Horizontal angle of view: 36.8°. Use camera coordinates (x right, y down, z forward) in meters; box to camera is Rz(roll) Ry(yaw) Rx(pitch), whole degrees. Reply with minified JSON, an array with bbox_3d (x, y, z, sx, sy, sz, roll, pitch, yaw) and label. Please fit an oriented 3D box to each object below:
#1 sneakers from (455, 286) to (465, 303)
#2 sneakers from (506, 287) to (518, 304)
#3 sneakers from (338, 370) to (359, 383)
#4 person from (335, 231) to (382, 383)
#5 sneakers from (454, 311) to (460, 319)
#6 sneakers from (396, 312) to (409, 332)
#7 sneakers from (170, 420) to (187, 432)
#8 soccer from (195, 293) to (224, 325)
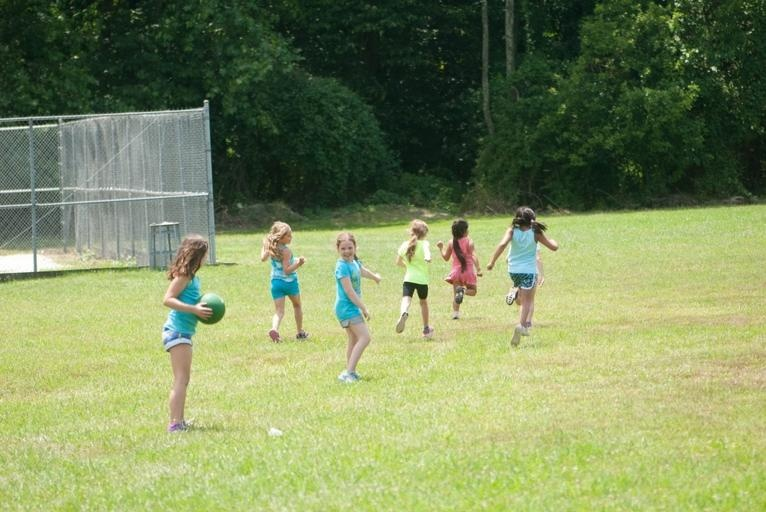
[{"bbox_3d":[1.766,0.927,26.723,0.169,0.402,0.193,2,1,23],"label":"sneakers"},{"bbox_3d":[2.797,0.899,25.230,0.188,0.502,0.214,12,-7,13],"label":"sneakers"},{"bbox_3d":[-0.724,2.530,23.827,0.460,0.218,0.194,1,9,-35],"label":"sneakers"},{"bbox_3d":[-0.608,1.073,23.926,0.741,3.020,0.902,-1,10,-1],"label":"person"},{"bbox_3d":[1.755,1.435,27.349,0.149,0.163,0.154,-1,5,5],"label":"sneakers"},{"bbox_3d":[0.396,1.520,25.319,0.202,0.509,0.217,20,11,0],"label":"sneakers"},{"bbox_3d":[-4.019,3.366,22.572,0.402,0.174,0.147,-8,8,-13],"label":"sneakers"},{"bbox_3d":[-3.329,1.072,22.661,0.548,0.635,0.539,-2,-27,-33],"label":"soccer"}]
